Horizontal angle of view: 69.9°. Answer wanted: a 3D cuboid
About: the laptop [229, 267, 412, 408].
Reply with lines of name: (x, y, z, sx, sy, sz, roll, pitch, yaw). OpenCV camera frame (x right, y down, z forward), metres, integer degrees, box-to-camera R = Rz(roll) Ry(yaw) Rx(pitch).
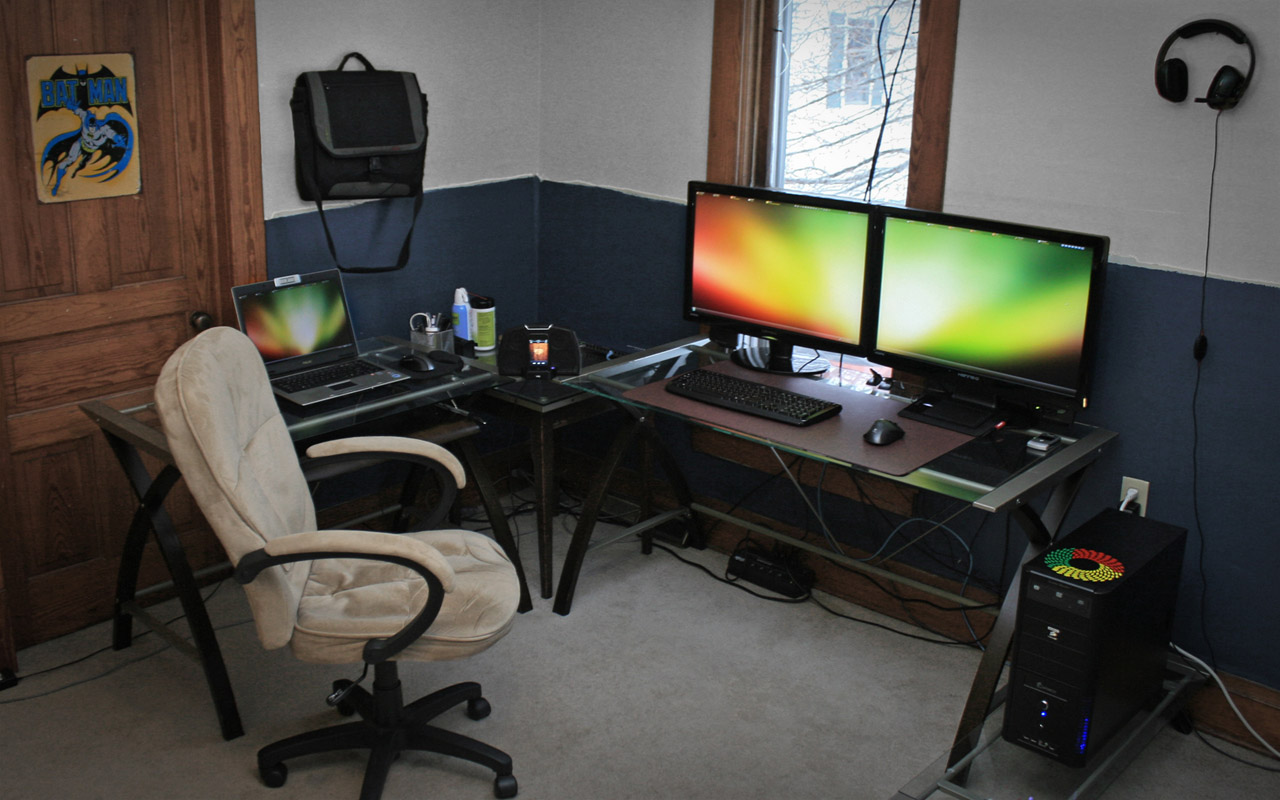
laptop: (-1.266, -0.253, 3.552, 0.621, 0.414, 0.582, 28, 35, 37)

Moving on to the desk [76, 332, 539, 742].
desk: (-0.959, 0.331, 3.294, 1.618, 1.468, 1.065, -1, 22, -6)

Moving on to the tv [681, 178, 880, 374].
tv: (0.553, -0.475, 3.514, 0.737, 0.587, 0.165, 14, 25, 29)

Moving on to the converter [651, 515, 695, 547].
converter: (0.147, 0.572, 4.055, 0.178, 0.087, 0.149, 7, 31, 12)

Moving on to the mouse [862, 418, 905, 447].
mouse: (0.816, 0.094, 3.072, 0.080, 0.047, 0.127, 16, 28, 32)

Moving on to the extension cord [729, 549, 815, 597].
extension cord: (0.527, 0.702, 3.804, 0.268, 0.089, 0.186, 17, 20, 24)

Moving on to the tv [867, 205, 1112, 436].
tv: (1.231, -0.282, 3.160, 0.718, 0.595, 0.214, 19, 29, 33)

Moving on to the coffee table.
coffee table: (-0.086, 0.159, 4.011, 1.149, 0.981, 1.155, 22, 31, 40)

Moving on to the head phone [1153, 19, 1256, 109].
head phone: (1.804, -1.065, 2.916, 0.289, 0.254, 0.110, 13, 20, 42)

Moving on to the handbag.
handbag: (-1.155, -1.073, 3.676, 0.516, 0.428, 0.259, -12, 24, -34)
